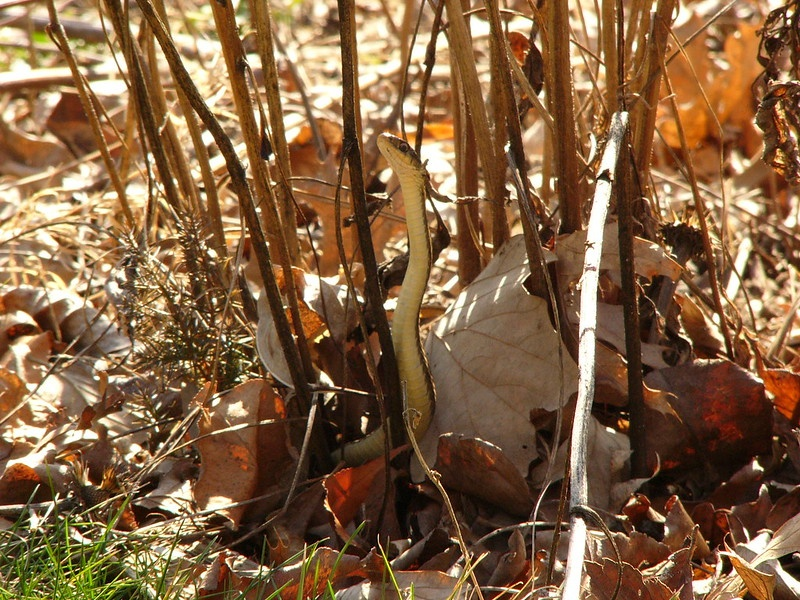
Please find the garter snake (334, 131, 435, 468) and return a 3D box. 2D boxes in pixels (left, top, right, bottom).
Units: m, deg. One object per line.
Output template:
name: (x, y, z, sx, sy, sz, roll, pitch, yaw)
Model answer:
garter snake: (0.034, -0.013, 2.505, 0.142, 0.827, 0.364, -5, 23, 2)
